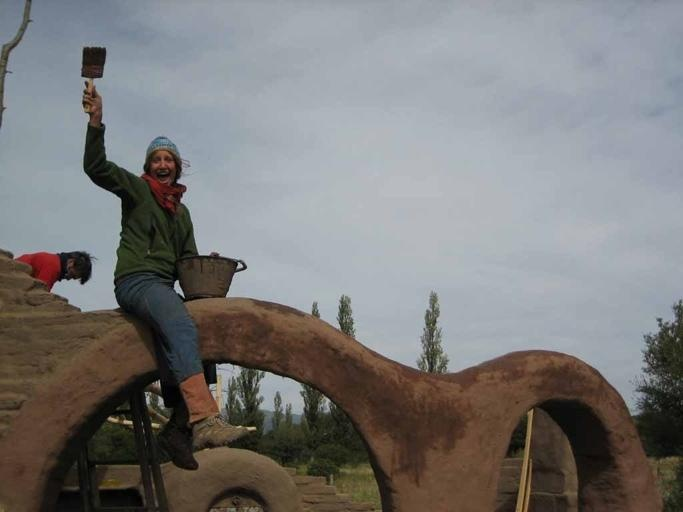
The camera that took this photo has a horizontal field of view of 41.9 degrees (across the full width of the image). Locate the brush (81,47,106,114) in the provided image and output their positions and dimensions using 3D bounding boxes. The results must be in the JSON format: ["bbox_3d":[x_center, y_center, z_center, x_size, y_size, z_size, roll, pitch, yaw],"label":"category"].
[{"bbox_3d":[-2.245,-1.754,7.998,0.185,0.350,0.162,3,-10,-12],"label":"brush"}]

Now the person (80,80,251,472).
[{"bbox_3d":[-1.691,0.284,8.218,1.475,3.442,0.860,5,-11,-22],"label":"person"}]
